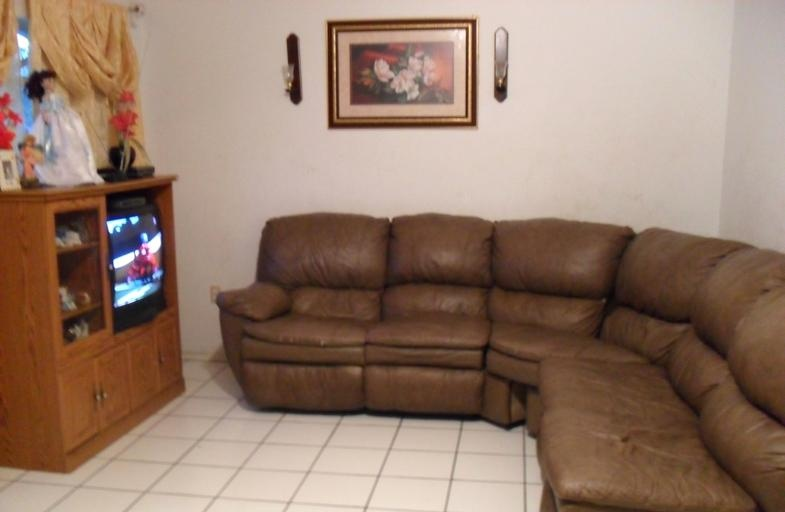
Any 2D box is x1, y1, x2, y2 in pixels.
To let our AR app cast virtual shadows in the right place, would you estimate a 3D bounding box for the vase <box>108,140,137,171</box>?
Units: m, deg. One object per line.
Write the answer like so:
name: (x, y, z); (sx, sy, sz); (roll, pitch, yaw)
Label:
vase: (-2.004, -0.750, 4.484); (0.205, 0.216, 0.073); (-8, 8, 16)
